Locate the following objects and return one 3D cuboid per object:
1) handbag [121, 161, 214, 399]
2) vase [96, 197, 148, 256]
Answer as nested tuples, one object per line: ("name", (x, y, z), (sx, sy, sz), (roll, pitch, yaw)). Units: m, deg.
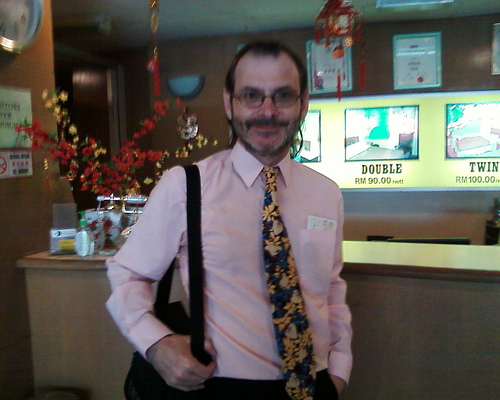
("handbag", (-0.249, 0.241, 1.287), (0.250, 0.710, 0.224), (-1, 4, -15))
("vase", (-0.659, 0.107, 2.205), (0.299, 0.252, 0.154), (2, 1, 2))
